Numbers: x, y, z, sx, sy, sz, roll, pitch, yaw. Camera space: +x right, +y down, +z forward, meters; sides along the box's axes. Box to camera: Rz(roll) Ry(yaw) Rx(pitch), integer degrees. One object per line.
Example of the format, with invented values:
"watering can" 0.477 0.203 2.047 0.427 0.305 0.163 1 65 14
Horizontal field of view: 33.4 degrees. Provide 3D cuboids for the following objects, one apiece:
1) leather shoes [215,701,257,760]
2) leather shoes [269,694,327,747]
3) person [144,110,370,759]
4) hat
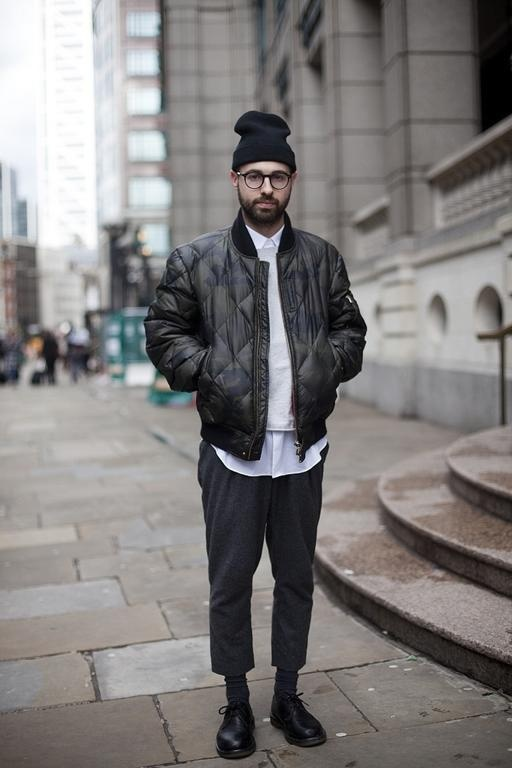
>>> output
"leather shoes" -0.069 1.088 2.679 0.119 0.106 0.169 -2 7 -2
"leather shoes" 0.119 1.074 2.744 0.112 0.113 0.228 -7 8 -33
"person" 0.023 0.128 2.765 0.726 1.993 0.550 -3 8 -8
"hat" -0.003 -0.762 2.766 0.192 0.191 0.206 0 4 -14
